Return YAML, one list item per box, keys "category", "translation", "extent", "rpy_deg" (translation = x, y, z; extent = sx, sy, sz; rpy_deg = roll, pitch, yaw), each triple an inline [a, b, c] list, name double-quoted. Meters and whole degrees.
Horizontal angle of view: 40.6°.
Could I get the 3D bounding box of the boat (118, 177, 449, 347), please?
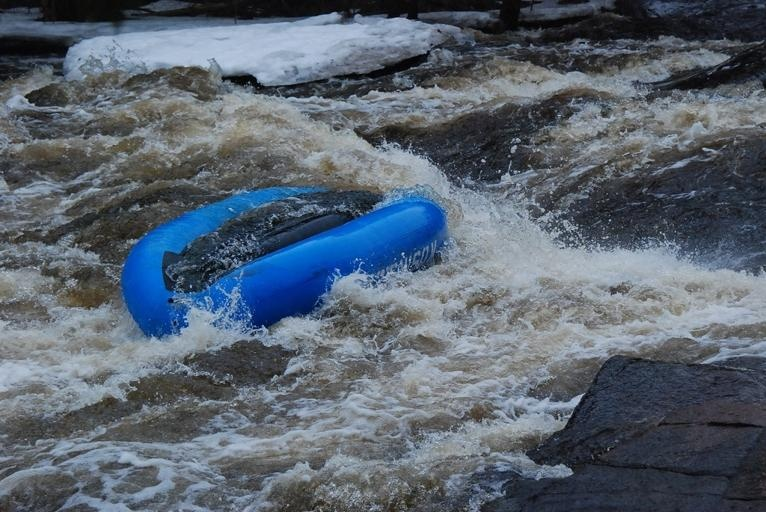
- category: "boat"
  translation: [-1.209, 0.086, 14.436]
  extent: [3.880, 0.565, 2.134]
  rpy_deg: [-17, 33, -31]
